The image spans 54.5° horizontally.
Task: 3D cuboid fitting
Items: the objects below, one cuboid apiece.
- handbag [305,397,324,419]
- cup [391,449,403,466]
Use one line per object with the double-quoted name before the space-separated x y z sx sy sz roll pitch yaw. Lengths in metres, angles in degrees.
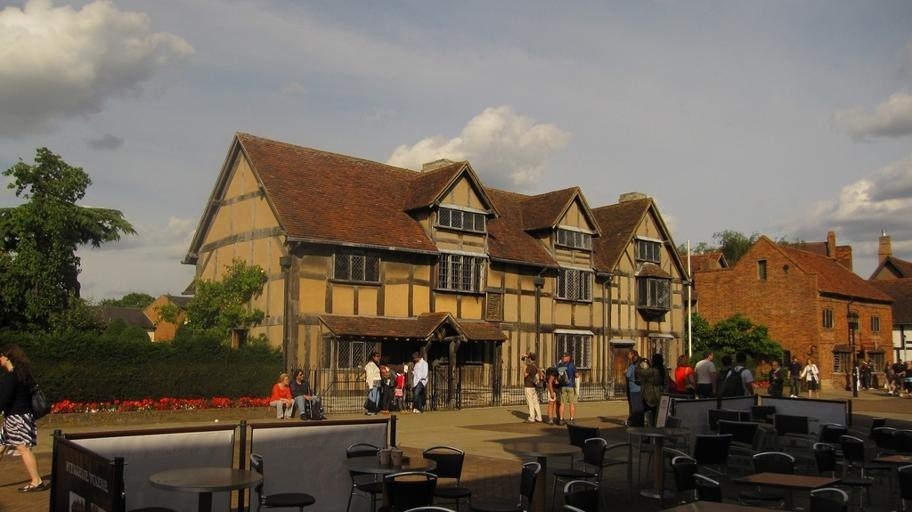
"handbag" -6.148 6.529 37.877 0.549 0.993 0.722 -22 -27 35
"cup" -1.713 5.770 25.332 0.405 0.389 0.387 -1 -7 0
